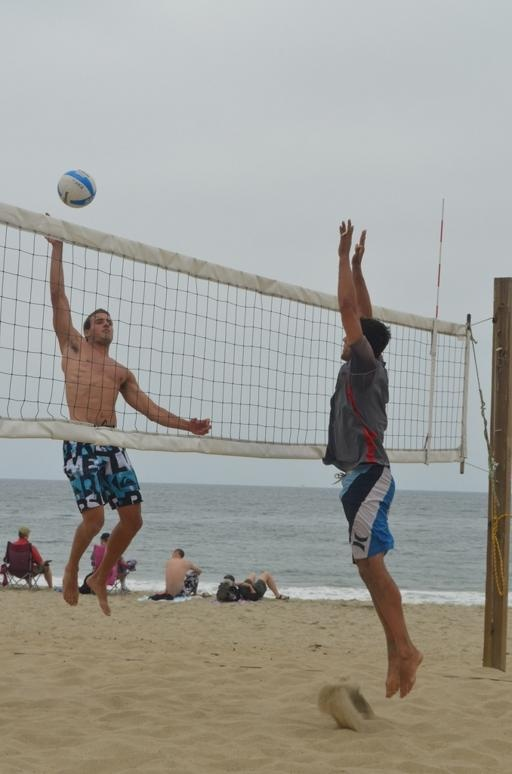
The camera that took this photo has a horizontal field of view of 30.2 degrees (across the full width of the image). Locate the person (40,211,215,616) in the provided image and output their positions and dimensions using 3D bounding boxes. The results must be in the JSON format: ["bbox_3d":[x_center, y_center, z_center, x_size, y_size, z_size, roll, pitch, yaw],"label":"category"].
[{"bbox_3d":[-0.851,0.293,5.191,0.726,2.098,0.938,-1,-2,38],"label":"person"}]

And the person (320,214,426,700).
[{"bbox_3d":[0.535,0.333,4.321,0.420,2.141,0.484,0,-2,3],"label":"person"}]

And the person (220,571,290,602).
[{"bbox_3d":[-0.040,2.529,11.780,0.672,0.286,1.082,0,-2,24],"label":"person"}]

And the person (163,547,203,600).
[{"bbox_3d":[-0.936,2.502,12.297,0.380,0.796,0.433,0,2,26],"label":"person"}]
